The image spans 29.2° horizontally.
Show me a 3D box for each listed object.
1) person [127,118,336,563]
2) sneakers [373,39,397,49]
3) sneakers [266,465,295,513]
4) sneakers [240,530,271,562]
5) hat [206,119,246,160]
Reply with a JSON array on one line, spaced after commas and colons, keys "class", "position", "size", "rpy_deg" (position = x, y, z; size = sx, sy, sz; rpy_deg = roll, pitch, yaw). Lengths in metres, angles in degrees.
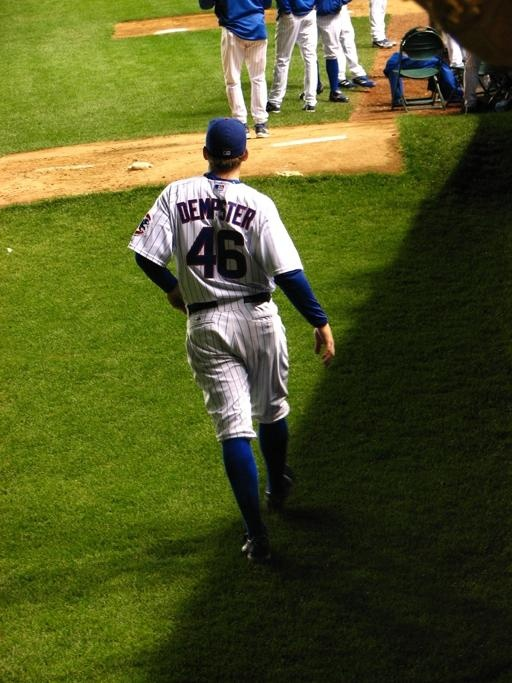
[{"class": "person", "position": [-0.042, 0.006, 3.739], "size": [0.540, 1.520, 0.812], "rpy_deg": [-23, 40, -33]}, {"class": "sneakers", "position": [1.687, -3.830, 12.782], "size": [0.250, 0.094, 0.171], "rpy_deg": [5, 33, 3]}, {"class": "sneakers", "position": [0.117, 0.616, 4.102], "size": [0.070, 0.079, 0.204], "rpy_deg": [6, 40, 17]}, {"class": "sneakers", "position": [0.016, 0.781, 3.794], "size": [0.138, 0.124, 0.081], "rpy_deg": [1, 21, 8]}, {"class": "hat", "position": [-0.109, -0.729, 3.638], "size": [0.128, 0.100, 0.172], "rpy_deg": [2, 46, 0]}]
